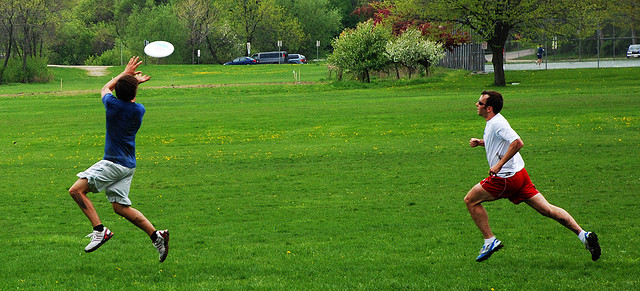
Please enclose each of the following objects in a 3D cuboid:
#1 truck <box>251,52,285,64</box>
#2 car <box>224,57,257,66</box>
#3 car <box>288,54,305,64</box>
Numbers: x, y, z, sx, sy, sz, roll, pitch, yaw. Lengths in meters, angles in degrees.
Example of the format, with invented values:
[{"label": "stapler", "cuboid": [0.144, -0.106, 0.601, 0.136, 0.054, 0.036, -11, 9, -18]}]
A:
[{"label": "truck", "cuboid": [-9.579, -16.219, 153.644, 6.104, 2.067, 2.871, 1, 8, 11]}, {"label": "car", "cuboid": [-14.582, -15.490, 151.691, 5.291, 1.227, 2.033, 2, 3, 5]}, {"label": "car", "cuboid": [-4.553, -16.041, 153.040, 2.772, 1.550, 4.214, -1, 7, -3]}]
